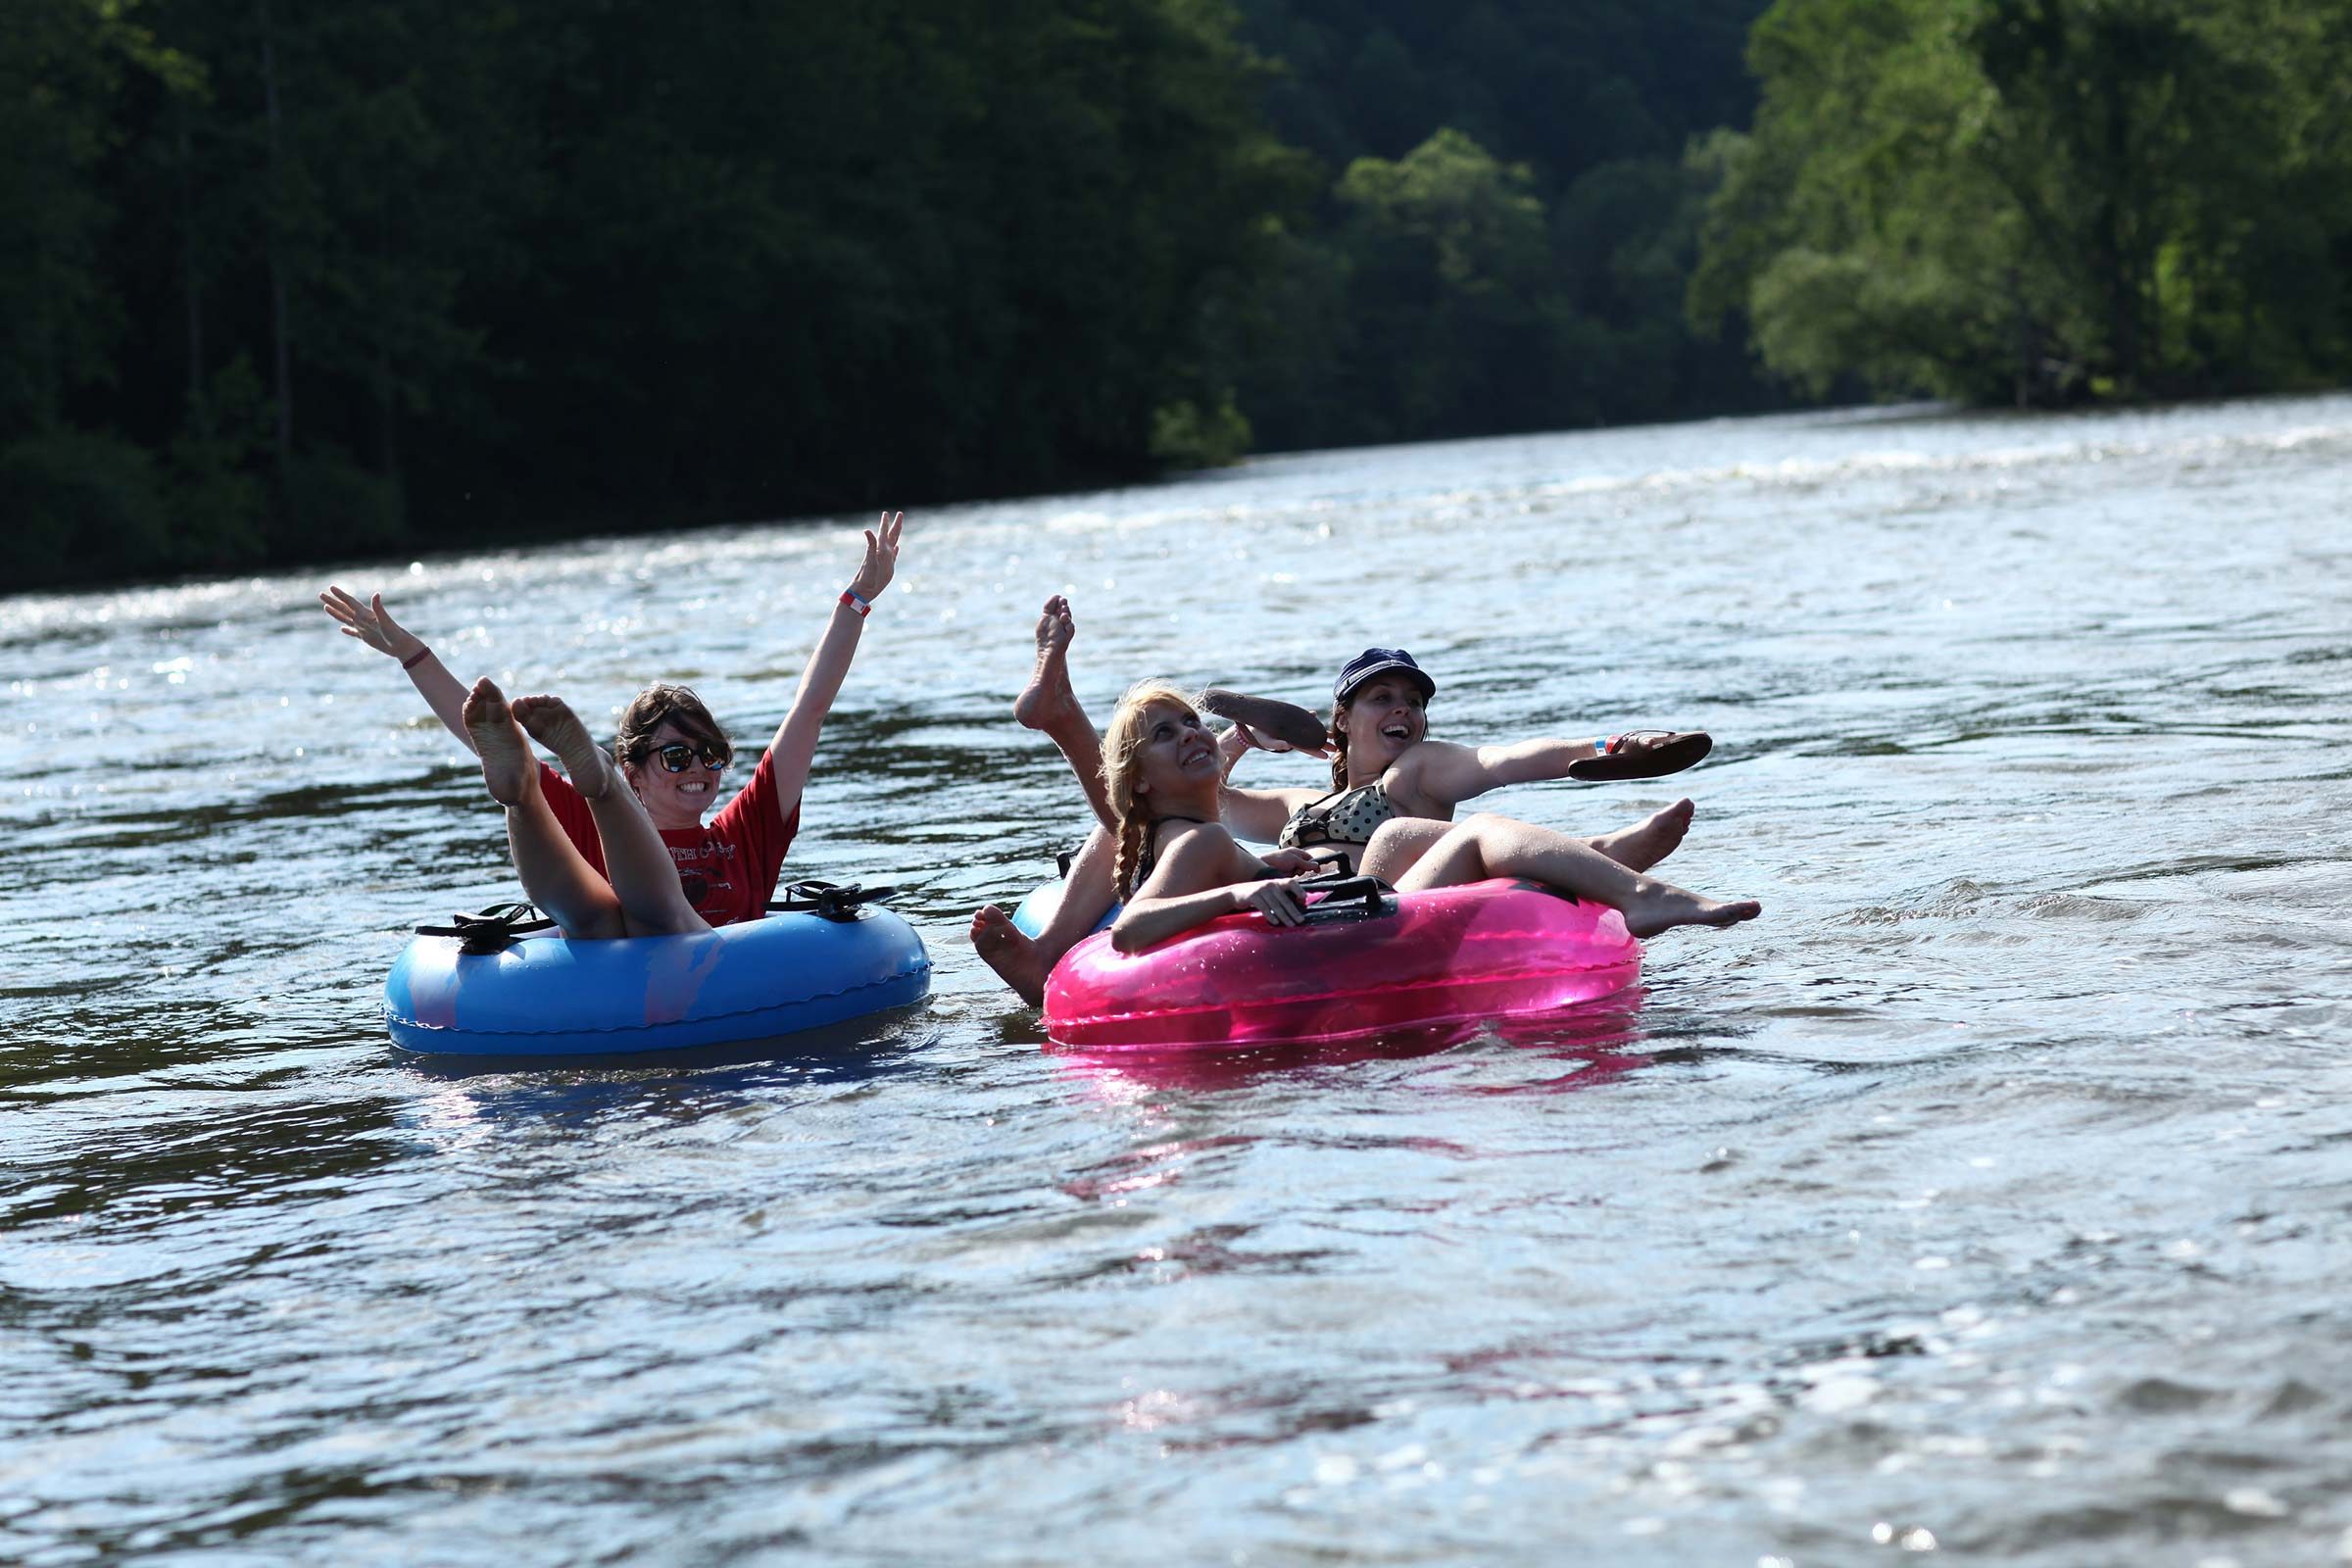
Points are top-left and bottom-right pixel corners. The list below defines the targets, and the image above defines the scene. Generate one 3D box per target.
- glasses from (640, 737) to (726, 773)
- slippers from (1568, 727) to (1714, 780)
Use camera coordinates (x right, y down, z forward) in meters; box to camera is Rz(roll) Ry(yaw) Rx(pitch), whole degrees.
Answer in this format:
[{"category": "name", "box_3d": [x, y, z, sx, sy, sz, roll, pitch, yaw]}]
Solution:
[{"category": "glasses", "box_3d": [-2.849, -0.178, 21.478, 0.466, 0.188, 0.084, -5, 9, -9]}, {"category": "slippers", "box_3d": [2.750, -0.151, 21.079, 0.965, 0.257, 0.388, -6, 5, 18]}]
